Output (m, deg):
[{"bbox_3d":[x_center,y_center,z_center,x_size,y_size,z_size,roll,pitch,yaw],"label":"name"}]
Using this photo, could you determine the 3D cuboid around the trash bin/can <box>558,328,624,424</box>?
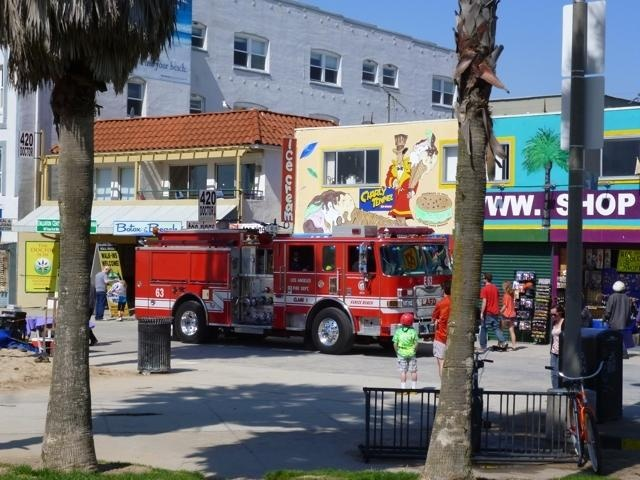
[{"bbox_3d":[5.742,2.767,26.333,1.000,2.198,1.213,-1,0,-8],"label":"trash bin/can"}]

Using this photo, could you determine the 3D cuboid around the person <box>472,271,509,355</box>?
[{"bbox_3d":[4.612,2.087,35.431,0.996,2.751,0.873,1,0,42],"label":"person"}]

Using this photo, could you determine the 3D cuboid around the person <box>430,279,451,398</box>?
[{"bbox_3d":[2.713,2.172,28.937,0.405,2.409,0.602,7,9,26],"label":"person"}]

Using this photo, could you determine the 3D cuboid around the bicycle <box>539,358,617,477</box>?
[{"bbox_3d":[5.007,3.470,24.549,0.761,1.251,1.922,-9,-1,-5],"label":"bicycle"}]
